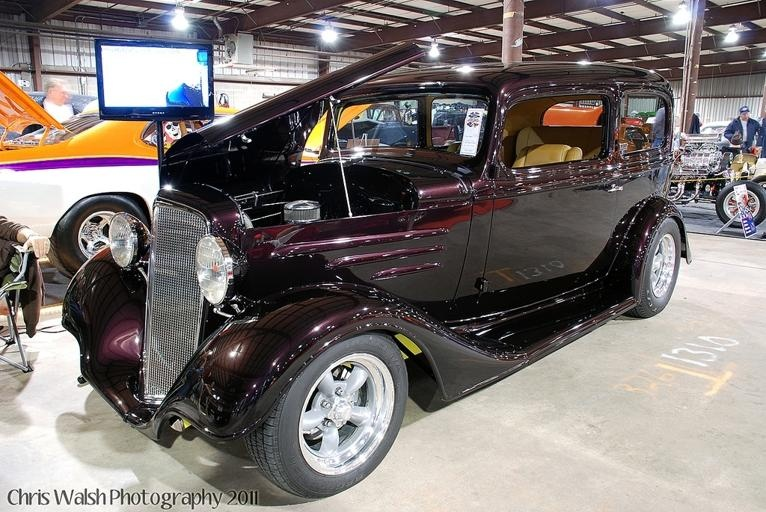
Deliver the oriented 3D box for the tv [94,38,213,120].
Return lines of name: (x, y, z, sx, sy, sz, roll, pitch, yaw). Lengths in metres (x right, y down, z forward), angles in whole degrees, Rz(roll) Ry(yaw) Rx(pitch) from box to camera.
tv: (-1.468, -1.149, 2.763, 0.702, 0.393, 0.068, -3, 11, -17)
